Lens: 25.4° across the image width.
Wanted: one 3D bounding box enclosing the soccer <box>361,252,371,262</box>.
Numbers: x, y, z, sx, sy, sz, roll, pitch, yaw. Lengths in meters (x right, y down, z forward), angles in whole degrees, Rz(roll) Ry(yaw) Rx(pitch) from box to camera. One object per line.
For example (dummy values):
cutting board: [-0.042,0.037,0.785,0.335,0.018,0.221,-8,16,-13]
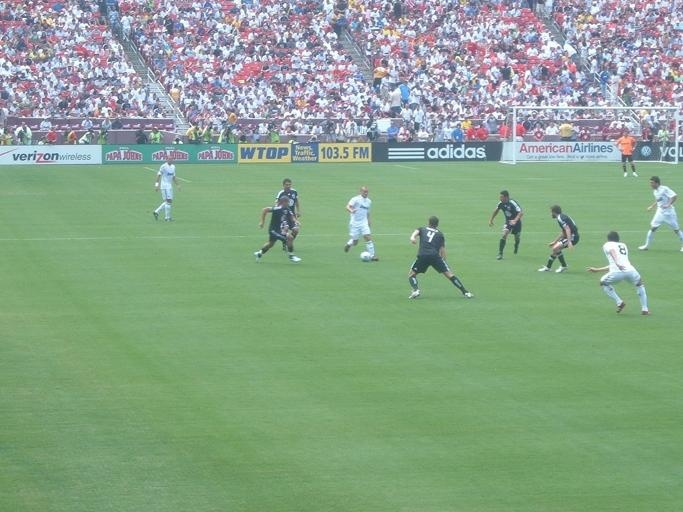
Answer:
soccer: [0.851,-0.012,55.299,0.346,0.334,0.369,0,47,-1]
